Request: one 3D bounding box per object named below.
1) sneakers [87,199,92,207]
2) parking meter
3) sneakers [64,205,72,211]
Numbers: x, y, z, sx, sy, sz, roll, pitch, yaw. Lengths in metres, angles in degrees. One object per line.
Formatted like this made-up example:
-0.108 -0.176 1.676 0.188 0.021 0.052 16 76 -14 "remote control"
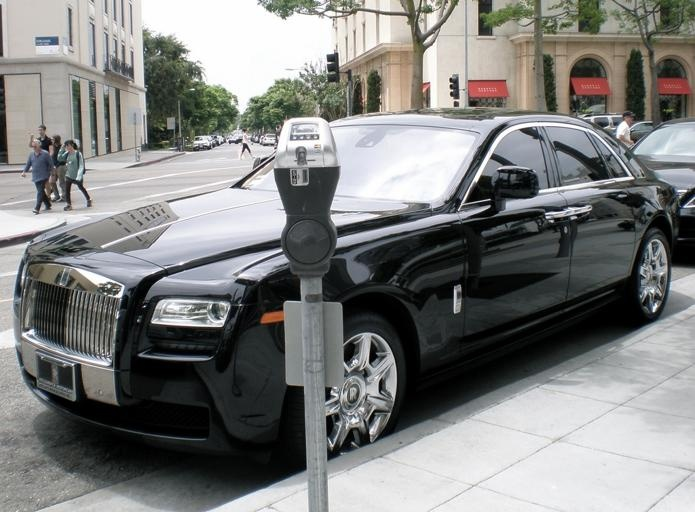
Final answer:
-7.825 -1.628 18.371 0.084 0.116 0.277 -3 54 2 "sneakers"
-0.132 0.272 2.169 0.221 1.512 0.259 -1 8 -3 "parking meter"
-8.210 -1.414 17.827 0.146 0.188 0.408 -2 8 -34 "sneakers"
